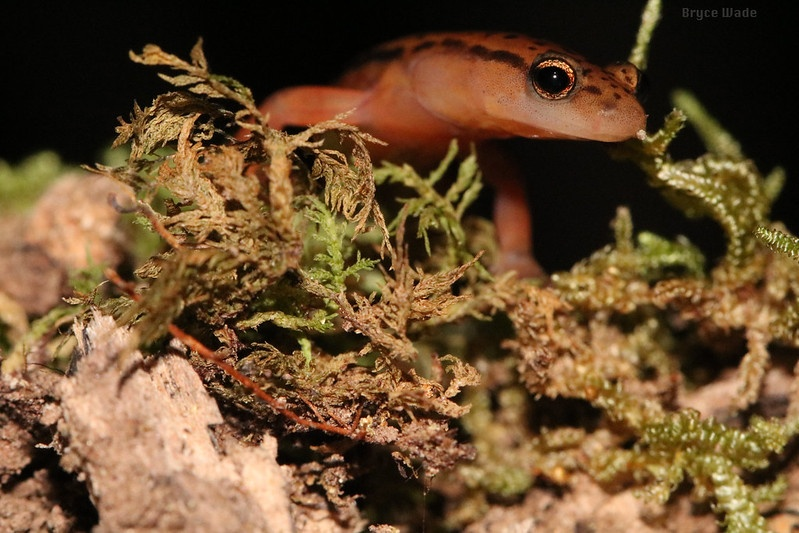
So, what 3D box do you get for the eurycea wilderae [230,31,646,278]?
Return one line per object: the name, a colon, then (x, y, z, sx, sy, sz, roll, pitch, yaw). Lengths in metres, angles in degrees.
eurycea wilderae: (0.350, -0.905, 4.836, 1.177, 0.713, 1.911, -9, 31, -39)
